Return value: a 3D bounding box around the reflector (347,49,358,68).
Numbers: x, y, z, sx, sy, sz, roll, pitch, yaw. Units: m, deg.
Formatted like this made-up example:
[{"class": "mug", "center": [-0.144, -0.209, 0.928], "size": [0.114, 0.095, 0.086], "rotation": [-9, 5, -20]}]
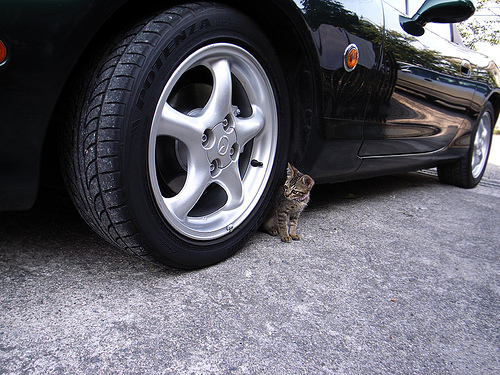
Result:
[{"class": "reflector", "center": [0.580, -0.731, 2.104], "size": [0.026, 0.088, 0.082], "rotation": [13, -13, 32]}]
